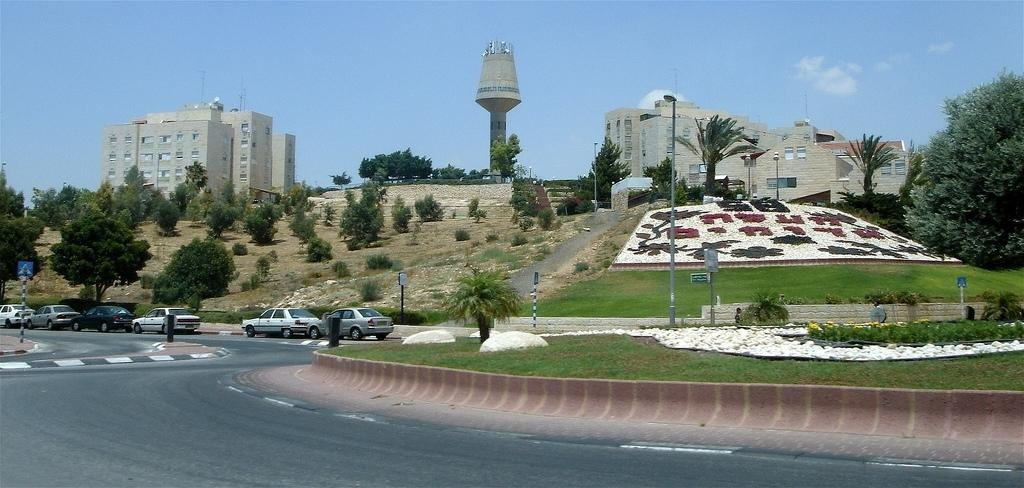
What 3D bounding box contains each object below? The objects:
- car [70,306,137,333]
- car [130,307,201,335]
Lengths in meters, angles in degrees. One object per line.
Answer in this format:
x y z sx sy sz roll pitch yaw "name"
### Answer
-39.266 7.370 98.664 5.719 1.688 1.265 -1 2 17 "car"
-32.665 7.344 96.720 5.318 1.549 3.434 0 2 39 "car"
